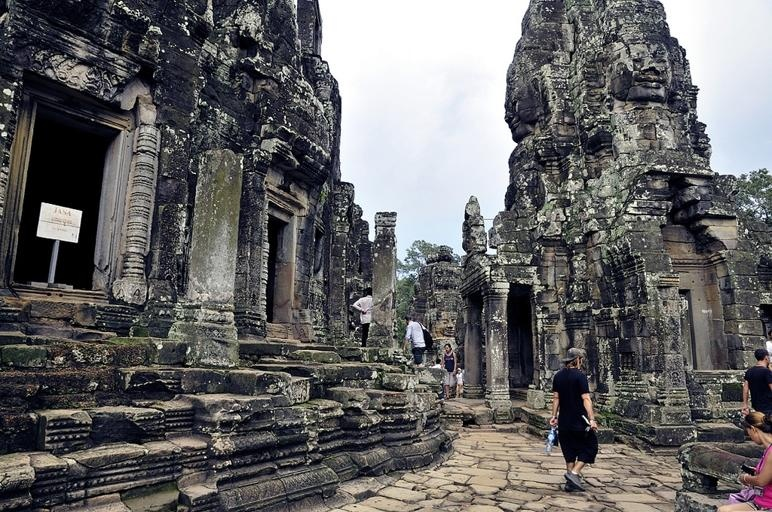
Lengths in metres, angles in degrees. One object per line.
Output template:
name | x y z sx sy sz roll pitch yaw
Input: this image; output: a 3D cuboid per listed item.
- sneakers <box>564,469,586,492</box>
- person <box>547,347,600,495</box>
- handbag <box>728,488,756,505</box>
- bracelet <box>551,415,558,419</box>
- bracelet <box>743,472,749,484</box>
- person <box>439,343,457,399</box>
sneakers | 2.718 3.262 8.287 0.262 0.263 0.123 -4 -13 19
person | 2.821 2.443 8.653 0.629 2.040 0.533 -3 -13 17
handbag | 4.141 2.783 6.635 0.213 0.078 0.171 -1 -3 14
bracelet | 2.575 2.490 8.781 0.137 0.060 0.086 10 -10 -41
bracelet | 4.129 2.560 6.559 0.049 0.103 0.081 8 -14 -30
person | 1.767 3.333 16.569 0.591 1.529 0.433 -5 5 -31
